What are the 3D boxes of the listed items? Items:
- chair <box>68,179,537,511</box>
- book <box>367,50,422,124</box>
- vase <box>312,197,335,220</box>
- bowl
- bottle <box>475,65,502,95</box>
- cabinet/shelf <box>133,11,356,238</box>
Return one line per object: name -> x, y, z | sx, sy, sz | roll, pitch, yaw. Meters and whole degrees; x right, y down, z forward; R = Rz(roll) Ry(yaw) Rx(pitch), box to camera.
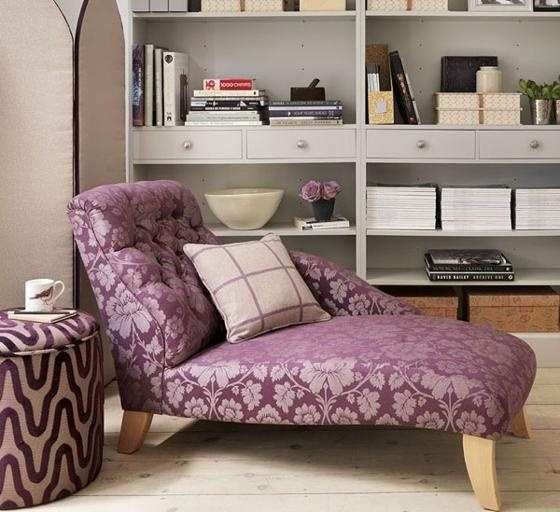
chair -> 0.005, 0.199, 1.951 | 1.567, 0.784, 0.855 | -1, 7, 17
book -> 0.522, -0.805, 2.629 | 0.243, 0.391, 0.163 | 0, 9, 7
vase -> 0.198, -0.222, 2.663 | 0.114, 0.116, 0.108 | -3, 5, -22
bowl -> -0.180, -0.232, 2.814 | 0.438, 0.184, 0.407 | -2, 9, 0
bottle -> 0.982, -0.834, 2.652 | 0.108, 0.133, 0.111 | 1, 9, 8
cabinet/shelf -> -0.165, -0.672, 2.664 | 1.318, 1.029, 0.431 | -1, 4, -2
